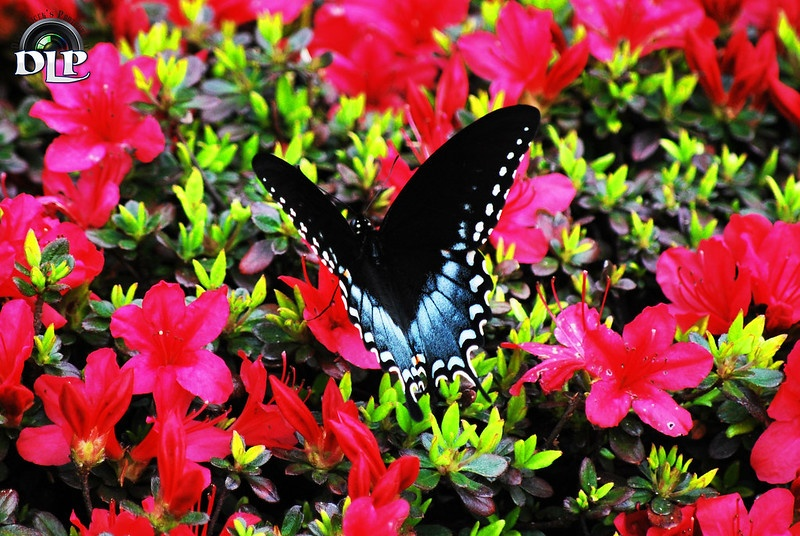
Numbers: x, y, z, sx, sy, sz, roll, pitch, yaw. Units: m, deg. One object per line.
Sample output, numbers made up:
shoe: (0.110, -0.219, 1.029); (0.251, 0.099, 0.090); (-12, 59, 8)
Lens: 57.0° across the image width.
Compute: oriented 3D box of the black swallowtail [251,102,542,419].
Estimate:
black swallowtail: (-0.012, -0.046, 1.925); (0.684, 0.731, 0.308); (4, 14, 20)
